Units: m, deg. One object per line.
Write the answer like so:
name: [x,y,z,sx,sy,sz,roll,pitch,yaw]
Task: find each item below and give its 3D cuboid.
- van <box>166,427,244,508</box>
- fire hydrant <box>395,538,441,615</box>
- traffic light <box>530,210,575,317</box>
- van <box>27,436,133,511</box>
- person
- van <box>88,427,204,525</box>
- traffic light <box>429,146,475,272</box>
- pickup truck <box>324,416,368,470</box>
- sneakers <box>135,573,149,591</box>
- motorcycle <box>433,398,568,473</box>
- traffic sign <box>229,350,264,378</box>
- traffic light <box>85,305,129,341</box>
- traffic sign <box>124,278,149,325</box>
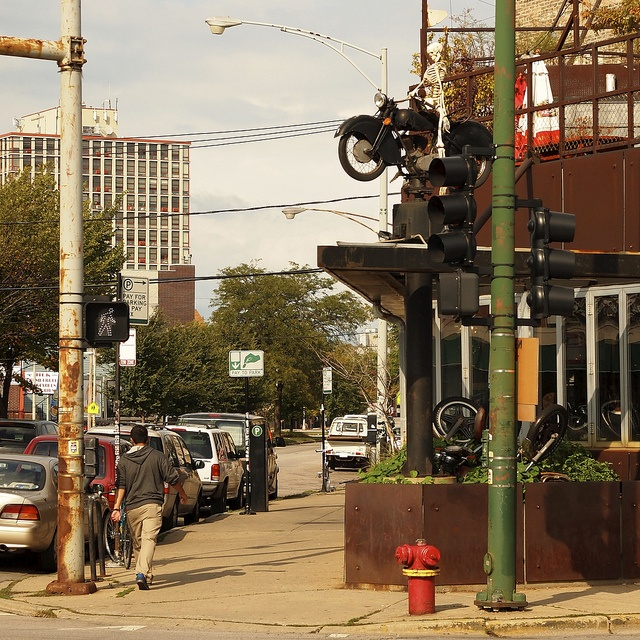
van: [-2.132,2.660,31.703,0.898,1.039,1.971,-1,1,9]
fire hydrant: [1.067,2.837,19.211,0.795,1.071,0.661,1,-6,-6]
traffic light: [2.591,-0.637,19.290,0.561,1.265,0.394,-1,-4,-1]
van: [-3.746,2.086,25.211,1.357,1.360,2.243,-1,-6,-2]
person: [-2.154,2.292,21.293,0.843,1.993,0.847,2,-5,-33]
van: [-2.914,2.490,28.227,1.476,2.160,1.954,0,-5,-2]
traffic light: [1.473,-1.213,19.186,0.436,1.323,0.399,-1,-4,9]
pickup truck: [0.710,3.490,48.522,1.127,1.625,1.192,-2,-5,3]
sneakers: [-2.158,3.147,20.716,0.092,0.111,0.257,-3,-34,7]
motorcycle: [1.951,1.442,21.680,2.246,1.077,0.734,4,9,-9]
traffic sign: [-1.322,0.770,30.476,0.563,0.502,0.801,-1,-5,-7]
traffic light: [-2.662,0.044,21.159,0.414,0.437,0.054,1,-6,-28]
traffic sign: [-2.491,-0.244,22.992,0.068,0.668,0.573,-4,-7,25]
